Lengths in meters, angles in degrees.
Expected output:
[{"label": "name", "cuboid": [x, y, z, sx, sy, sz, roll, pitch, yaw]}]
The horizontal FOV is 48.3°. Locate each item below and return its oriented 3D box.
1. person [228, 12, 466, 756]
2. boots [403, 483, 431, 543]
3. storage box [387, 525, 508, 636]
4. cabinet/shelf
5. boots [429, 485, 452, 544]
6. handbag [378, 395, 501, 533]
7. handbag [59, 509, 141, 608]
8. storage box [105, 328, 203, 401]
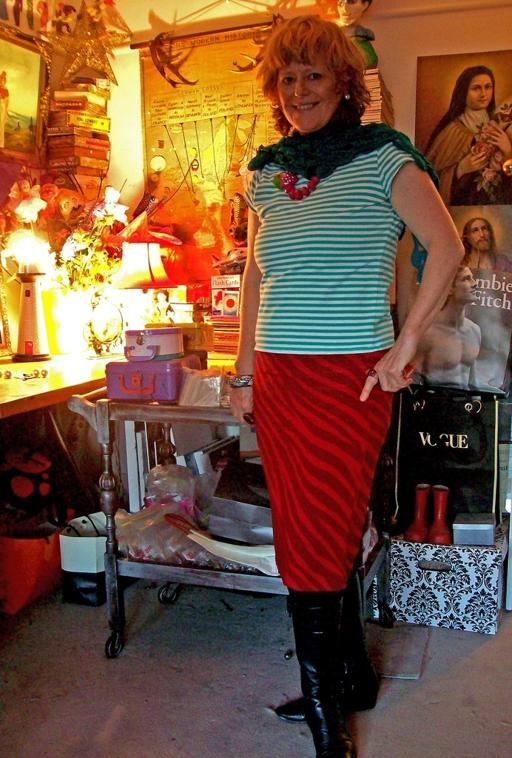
[{"label": "person", "cuboid": [0.148, 0.080, 1.194, 0.328, 1.573, 0.537, 0, 1, -12]}, {"label": "boots", "cuboid": [0.592, 0.491, 2.079, 0.081, 0.183, 0.194, 4, 9, 26]}, {"label": "storage box", "cuboid": [0.654, 0.677, 1.960, 0.332, 0.198, 0.332, 0, 0, 23]}, {"label": "cabinet/shelf", "cuboid": [-0.077, 0.382, 2.128, 0.687, 0.955, 1.045, 2, 15, 11]}, {"label": "boots", "cuboid": [0.656, 0.493, 2.043, 0.085, 0.176, 0.189, 1, 5, 16]}, {"label": "handbag", "cuboid": [0.739, 0.274, 2.235, 0.391, 0.520, 0.179, 0, 32, 18]}, {"label": "handbag", "cuboid": [-0.621, 0.682, 2.201, 0.195, 0.240, 0.355, -2, -1, 1]}, {"label": "storage box", "cuboid": [-0.327, -0.043, 1.879, 0.248, 0.214, 0.250, 1, 1, 22]}]
